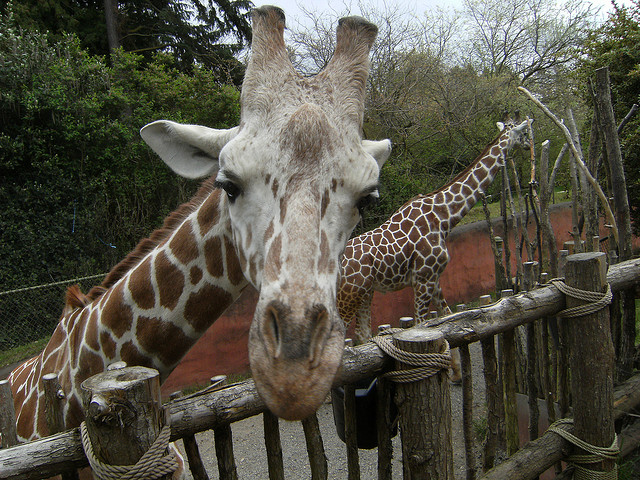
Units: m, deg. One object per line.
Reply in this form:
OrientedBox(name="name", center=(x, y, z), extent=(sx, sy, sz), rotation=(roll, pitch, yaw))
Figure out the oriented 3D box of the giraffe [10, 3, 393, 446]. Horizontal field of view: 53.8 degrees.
OrientedBox(name="giraffe", center=(-1.707, 0.444, 6.863), extent=(2.152, 3.989, 5.679), rotation=(9, -27, -36))
